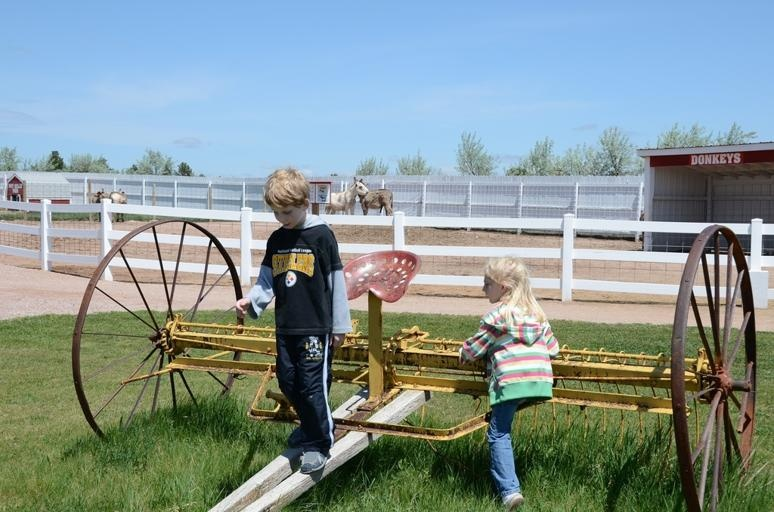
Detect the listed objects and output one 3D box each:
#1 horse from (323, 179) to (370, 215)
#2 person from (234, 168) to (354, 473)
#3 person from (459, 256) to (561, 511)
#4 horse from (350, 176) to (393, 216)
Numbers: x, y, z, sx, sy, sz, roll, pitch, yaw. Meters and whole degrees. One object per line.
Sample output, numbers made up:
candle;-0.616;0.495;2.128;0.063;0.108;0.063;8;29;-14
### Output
horse;-1.498;-1.821;28.793;2.056;1.524;0.511;-13;-10;32
person;-0.660;0.498;6.656;0.499;2.443;0.667;-6;8;-41
person;1.019;1.057;6.678;0.771;2.045;0.461;1;6;14
horse;-0.506;-2.109;28.557;1.227;1.195;1.402;-1;7;-7
